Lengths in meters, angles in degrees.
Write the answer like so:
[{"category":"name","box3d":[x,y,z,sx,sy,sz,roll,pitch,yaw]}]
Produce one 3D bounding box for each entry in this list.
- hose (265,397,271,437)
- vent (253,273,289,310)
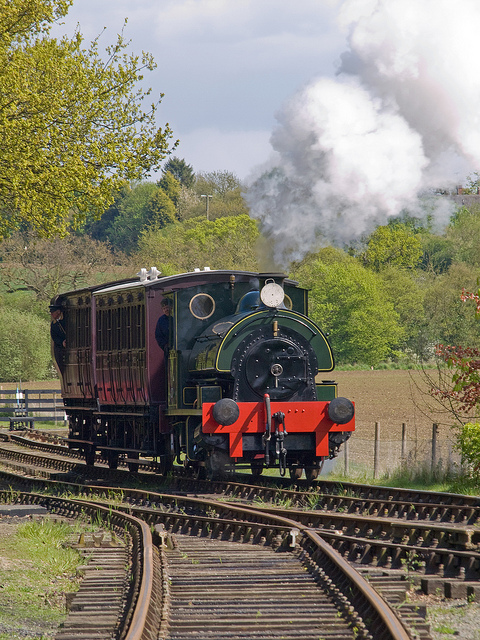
[{"category":"hose","box3d":[0.434,1.513,15.192,0.083,0.604,0.144,-1,-2,9]},{"category":"vent","box3d":[0.484,-0.471,15.936,0.575,0.699,0.567,0,-5,-6]}]
